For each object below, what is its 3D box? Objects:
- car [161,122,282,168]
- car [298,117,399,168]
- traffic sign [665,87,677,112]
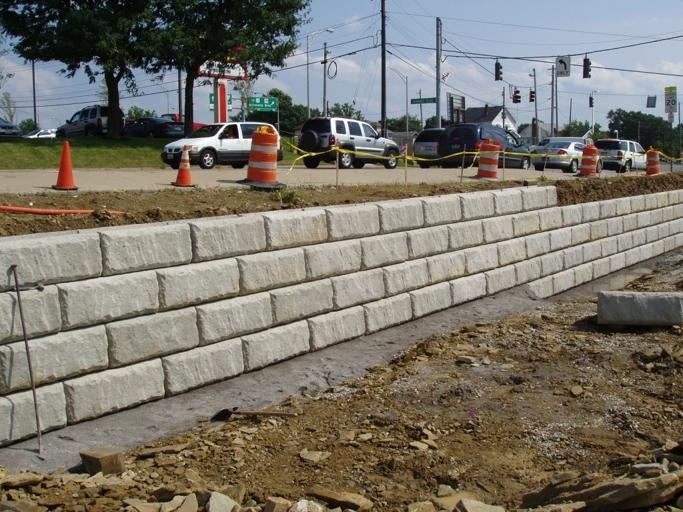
[{"bbox_3d":[-3.957,-3.539,20.890,2.968,1.528,1.458,-8,14,-44],"label":"car"},{"bbox_3d":[0.272,-4.019,23.417,1.602,1.755,4.021,9,12,38],"label":"car"},{"bbox_3d":[20.447,-9.717,40.963,0.564,1.698,2.989,5,10,23],"label":"traffic sign"}]
